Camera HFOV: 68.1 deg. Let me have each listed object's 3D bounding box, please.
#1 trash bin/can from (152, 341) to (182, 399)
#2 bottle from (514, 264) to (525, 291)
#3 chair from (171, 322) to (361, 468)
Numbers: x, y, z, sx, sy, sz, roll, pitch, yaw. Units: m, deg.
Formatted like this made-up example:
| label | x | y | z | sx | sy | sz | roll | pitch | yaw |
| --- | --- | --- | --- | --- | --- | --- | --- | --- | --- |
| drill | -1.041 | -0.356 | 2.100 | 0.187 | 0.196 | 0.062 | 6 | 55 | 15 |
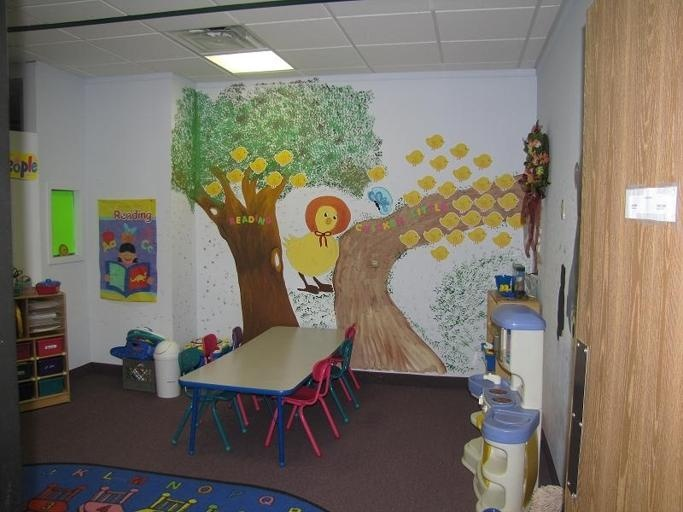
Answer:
| label | x | y | z | sx | sy | sz | roll | pitch | yaw |
| --- | --- | --- | --- | --- | --- | --- | --- | --- | --- |
| trash bin/can | -1.913 | 1.236 | 5.585 | 0.284 | 0.658 | 0.299 | 15 | 21 | 34 |
| bottle | 1.733 | 0.222 | 4.905 | 0.101 | 0.197 | 0.349 | 3 | 9 | 19 |
| chair | -0.595 | 1.246 | 4.795 | 1.239 | 0.847 | 1.741 | 3 | 9 | 21 |
